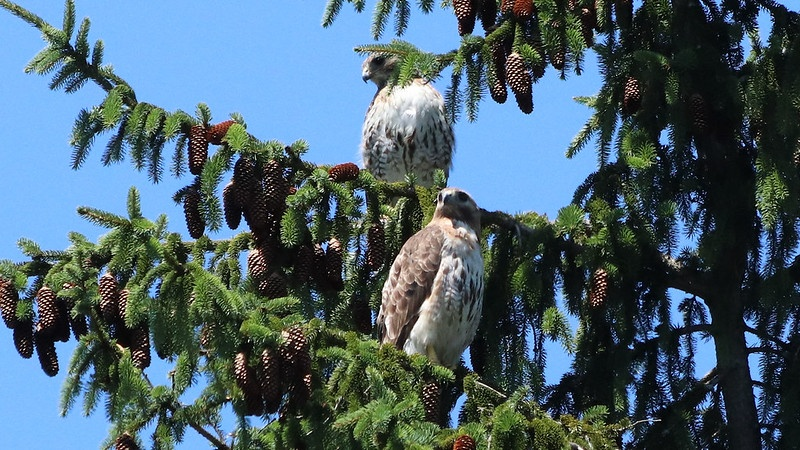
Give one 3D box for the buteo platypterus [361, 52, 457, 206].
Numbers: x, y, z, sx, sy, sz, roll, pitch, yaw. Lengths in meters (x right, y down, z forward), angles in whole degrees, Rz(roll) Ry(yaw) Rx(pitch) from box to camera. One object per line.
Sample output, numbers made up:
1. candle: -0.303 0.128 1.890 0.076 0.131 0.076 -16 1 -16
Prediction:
1. buteo platypterus: 0.134 -1.055 20.404 0.854 1.529 1.409 -11 -55 -2
